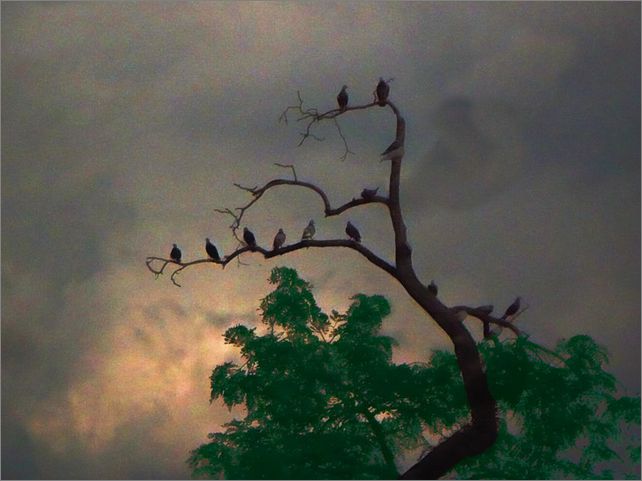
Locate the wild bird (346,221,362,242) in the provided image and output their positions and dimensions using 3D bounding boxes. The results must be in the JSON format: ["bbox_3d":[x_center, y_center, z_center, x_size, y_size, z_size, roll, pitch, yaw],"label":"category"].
[{"bbox_3d":[1.006,-0.309,36.738,0.600,0.787,0.376,0,-11,15],"label":"wild bird"}]

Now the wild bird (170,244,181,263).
[{"bbox_3d":[-3.976,0.398,32.415,0.181,0.624,0.239,-1,-20,-1],"label":"wild bird"}]
